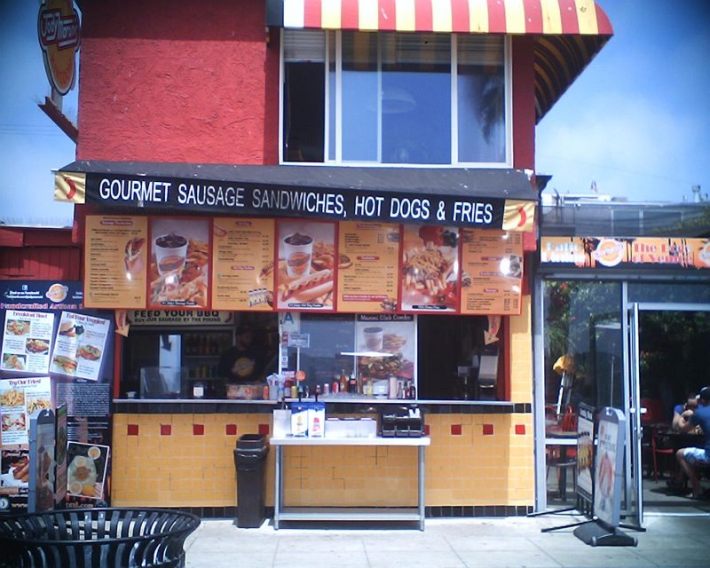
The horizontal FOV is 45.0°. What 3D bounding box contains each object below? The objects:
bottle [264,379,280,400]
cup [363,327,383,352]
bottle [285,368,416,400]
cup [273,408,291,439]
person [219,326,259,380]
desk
[{"bbox_3d":[-1.152,1.470,12.076,0.230,0.320,0.129,-5,-7,32],"label":"bottle"},{"bbox_3d":[0.286,0.796,12.361,0.290,0.368,0.303,-2,0,0],"label":"cup"},{"bbox_3d":[-0.038,1.414,12.084,1.771,0.419,0.402,-2,-6,8],"label":"bottle"},{"bbox_3d":[-0.988,1.888,11.635,0.296,0.498,0.297,0,-8,0],"label":"cup"},{"bbox_3d":[-1.794,1.094,13.525,0.613,1.377,0.425,2,-14,-22],"label":"person"},{"bbox_3d":[-0.031,2.718,11.805,2.149,1.366,0.710,0,-5,-2],"label":"desk"}]
